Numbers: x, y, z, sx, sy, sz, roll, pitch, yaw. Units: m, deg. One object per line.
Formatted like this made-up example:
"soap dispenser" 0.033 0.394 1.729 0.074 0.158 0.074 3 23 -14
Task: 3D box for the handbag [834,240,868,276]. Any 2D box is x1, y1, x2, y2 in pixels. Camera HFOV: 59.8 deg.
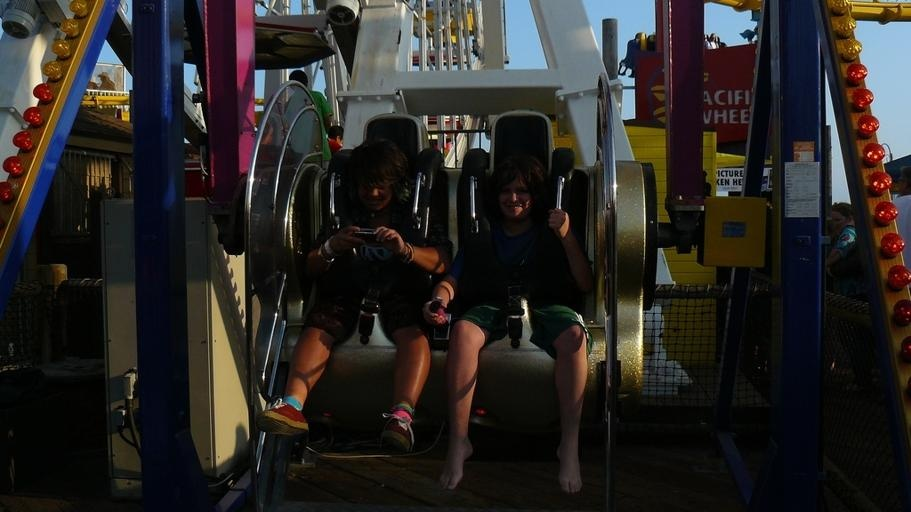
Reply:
"handbag" 4.014 0.039 8.060 0.143 0.418 0.375 9 1 -44

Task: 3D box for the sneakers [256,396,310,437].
"sneakers" -1.277 1.191 5.903 0.318 0.245 0.213 14 -40 -15

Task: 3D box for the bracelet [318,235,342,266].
"bracelet" -1.016 -0.057 6.379 0.178 0.204 0.191 28 24 28

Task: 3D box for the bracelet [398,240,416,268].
"bracelet" -0.383 -0.030 6.262 0.067 0.155 0.126 3 22 11

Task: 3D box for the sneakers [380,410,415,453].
"sneakers" -0.436 1.295 5.914 0.222 0.333 0.188 1 2 -10
